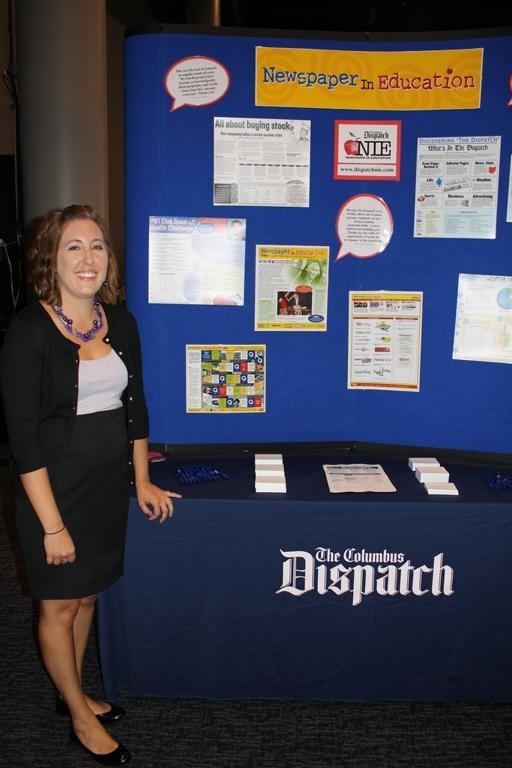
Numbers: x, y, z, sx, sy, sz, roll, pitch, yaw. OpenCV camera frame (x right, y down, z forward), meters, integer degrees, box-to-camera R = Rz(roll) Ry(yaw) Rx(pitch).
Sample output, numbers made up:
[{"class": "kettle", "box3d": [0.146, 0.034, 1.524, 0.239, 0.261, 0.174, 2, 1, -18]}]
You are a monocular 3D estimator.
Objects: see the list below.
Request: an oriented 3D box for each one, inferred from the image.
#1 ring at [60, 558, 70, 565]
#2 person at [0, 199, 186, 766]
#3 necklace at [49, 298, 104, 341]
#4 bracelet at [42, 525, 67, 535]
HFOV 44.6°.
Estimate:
[{"class": "ring", "box3d": [-0.436, 0.403, 1.415, 0.018, 0.024, 0.010, 3, 49, -16]}, {"class": "person", "box3d": [-0.433, 0.259, 1.537, 0.228, 1.364, 0.477, 3, 6, 38]}, {"class": "necklace", "box3d": [-0.435, -0.143, 1.491, 0.080, 0.100, 0.020, -25, 6, -43]}, {"class": "bracelet", "box3d": [-0.443, 0.325, 1.373, 0.042, 0.016, 0.026, -2, 5, -24]}]
